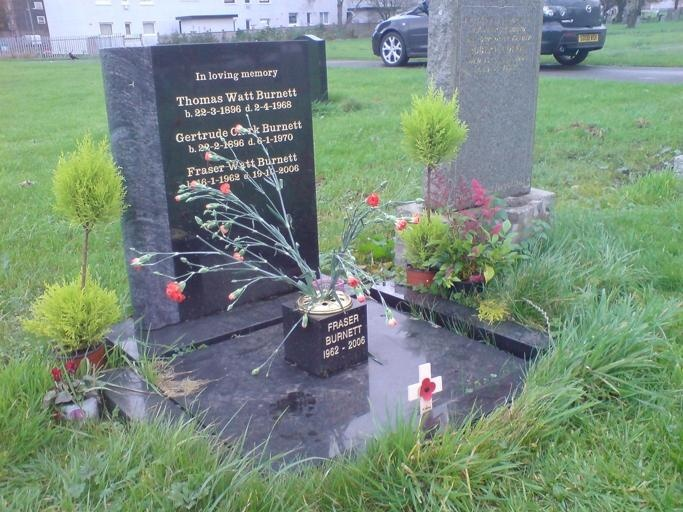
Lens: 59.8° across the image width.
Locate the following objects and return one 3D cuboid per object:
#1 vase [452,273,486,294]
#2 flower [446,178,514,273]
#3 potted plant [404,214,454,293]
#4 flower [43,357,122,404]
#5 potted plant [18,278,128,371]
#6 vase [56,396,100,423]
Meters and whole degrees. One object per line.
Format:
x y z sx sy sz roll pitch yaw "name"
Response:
1.018 0.229 4.735 0.165 0.129 0.165 6 15 22 "vase"
1.119 -0.210 4.776 0.519 0.741 0.549 4 22 14 "flower"
0.656 -0.076 4.971 0.539 0.688 0.528 0 16 -4 "potted plant"
-1.630 0.767 3.761 0.513 0.233 0.454 2 -6 -16 "flower"
-1.763 0.341 4.068 0.564 0.661 0.572 -3 16 -10 "potted plant"
-1.594 0.921 3.567 0.135 0.066 0.158 5 14 -15 "vase"
